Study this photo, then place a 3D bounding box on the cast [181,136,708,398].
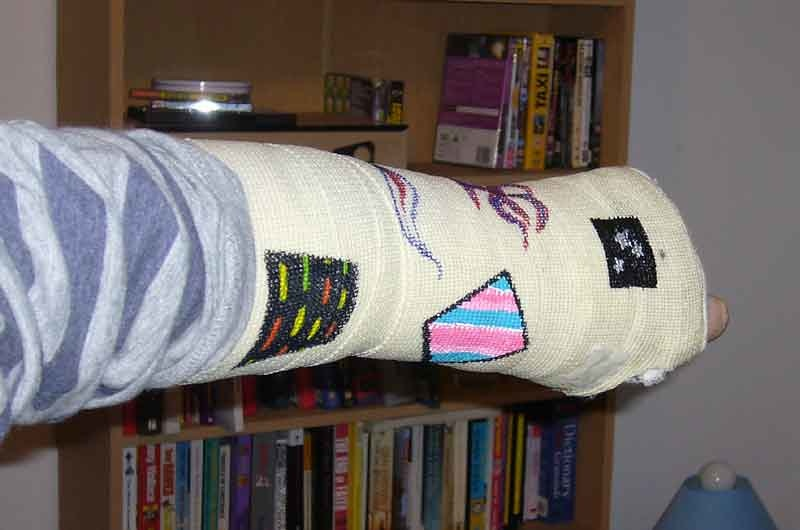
[{"bbox_3d":[0.098,0.041,1.519,0.760,0.352,0.335,2,-11,-12],"label":"cast"}]
